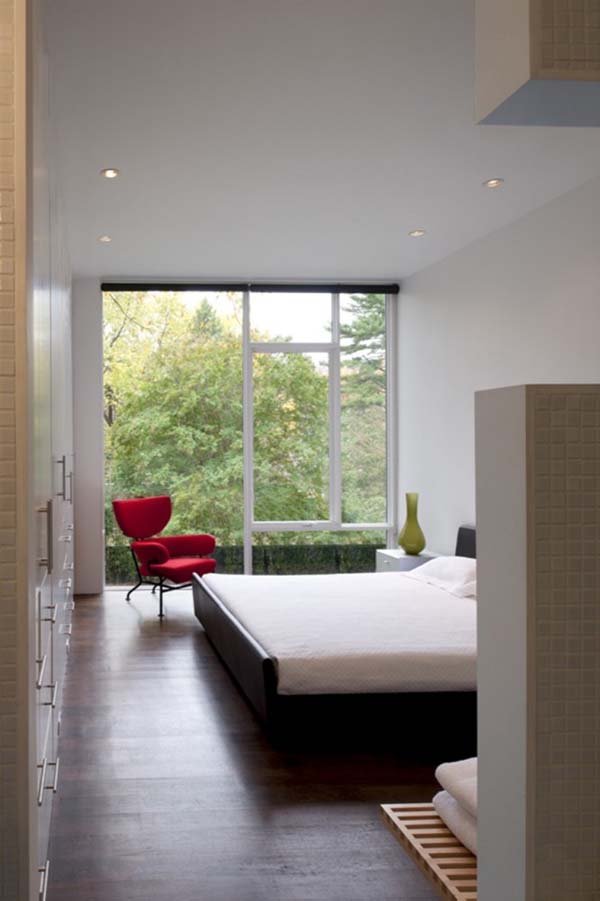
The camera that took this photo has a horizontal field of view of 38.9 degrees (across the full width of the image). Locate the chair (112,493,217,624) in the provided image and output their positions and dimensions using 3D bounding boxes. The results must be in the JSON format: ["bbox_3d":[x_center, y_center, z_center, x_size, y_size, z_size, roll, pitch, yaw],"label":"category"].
[{"bbox_3d":[-1.047,0.787,6.530,0.741,0.773,0.592,5,6,40],"label":"chair"}]
